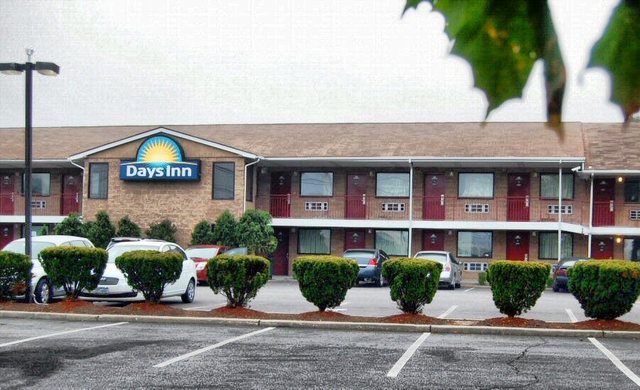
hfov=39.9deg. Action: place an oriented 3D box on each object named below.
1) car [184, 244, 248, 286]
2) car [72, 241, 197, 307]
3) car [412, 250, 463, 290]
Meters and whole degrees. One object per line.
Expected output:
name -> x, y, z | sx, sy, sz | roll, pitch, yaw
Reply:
car -> -4.910, 2.985, 38.664 | 1.971, 1.185, 3.563 | -3, -8, 22
car -> -5.735, 2.574, 29.945 | 1.893, 1.328, 3.472 | -3, -8, 17
car -> 5.278, 3.373, 38.255 | 1.463, 1.798, 2.261 | 1, 9, 8
